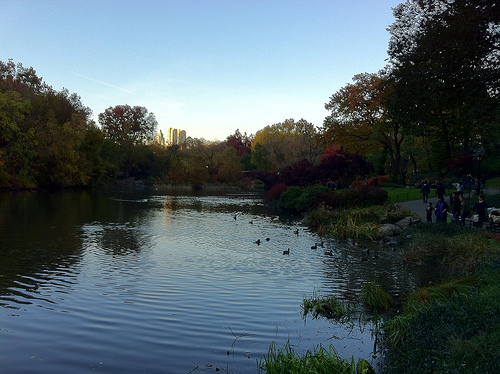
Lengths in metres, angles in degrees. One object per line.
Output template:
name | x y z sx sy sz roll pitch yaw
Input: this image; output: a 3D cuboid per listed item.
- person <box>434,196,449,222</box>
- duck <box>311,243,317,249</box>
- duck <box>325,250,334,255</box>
person | 12.692 1.499 28.757 0.640 1.551 1.246 1 6 21
duck | 3.858 3.633 26.361 0.178 0.430 0.495 -2 -2 -39
duck | 4.510 3.757 24.795 0.404 0.307 0.229 2 4 43
